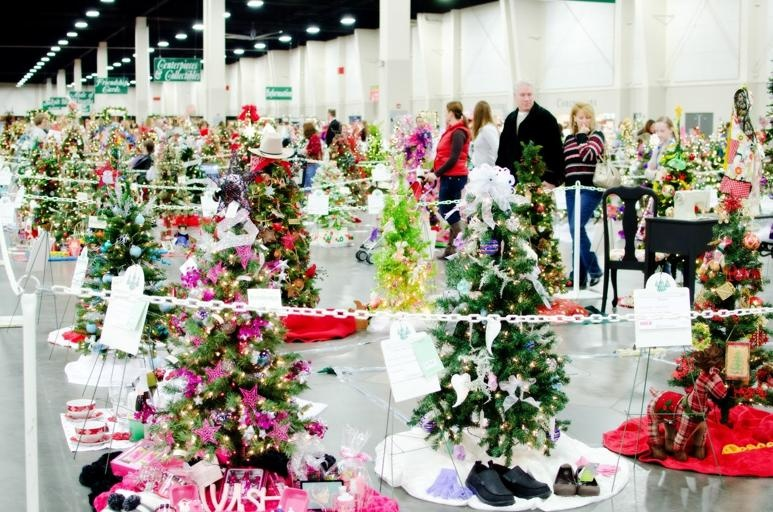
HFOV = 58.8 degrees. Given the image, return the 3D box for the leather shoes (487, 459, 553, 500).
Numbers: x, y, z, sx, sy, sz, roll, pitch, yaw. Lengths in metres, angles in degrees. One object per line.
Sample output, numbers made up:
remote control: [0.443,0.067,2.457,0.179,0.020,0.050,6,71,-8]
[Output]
leather shoes: [0.818,1.361,4.218,0.350,0.136,0.160,12,4,31]

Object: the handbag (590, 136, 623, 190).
handbag: [2.485,-1.046,7.696,0.298,0.564,0.483,3,13,18]

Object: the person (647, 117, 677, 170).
person: [3.298,-1.328,8.202,0.287,0.660,0.707,4,13,21]

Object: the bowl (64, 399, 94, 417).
bowl: [-2.283,1.129,5.086,0.182,0.088,0.187,1,0,0]

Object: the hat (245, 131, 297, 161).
hat: [-1.082,-1.020,6.353,0.387,0.267,0.459,-3,13,-11]

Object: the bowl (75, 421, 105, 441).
bowl: [-2.095,1.239,4.838,0.154,0.074,0.132,1,3,-25]

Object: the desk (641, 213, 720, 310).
desk: [2.779,0.025,6.813,0.670,0.766,0.685,2,3,-10]

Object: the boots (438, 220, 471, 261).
boots: [0.708,-0.177,7.394,0.303,0.393,0.722,-12,24,14]

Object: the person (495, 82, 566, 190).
person: [1.452,-1.218,6.944,0.698,1.047,0.587,3,12,14]

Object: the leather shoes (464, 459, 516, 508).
leather shoes: [0.628,1.387,4.191,0.141,0.122,0.292,-2,11,-35]

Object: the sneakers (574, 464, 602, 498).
sneakers: [1.259,1.383,4.289,0.137,0.114,0.276,3,13,13]

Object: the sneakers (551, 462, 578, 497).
sneakers: [1.114,1.390,4.239,0.141,0.125,0.183,5,14,24]
